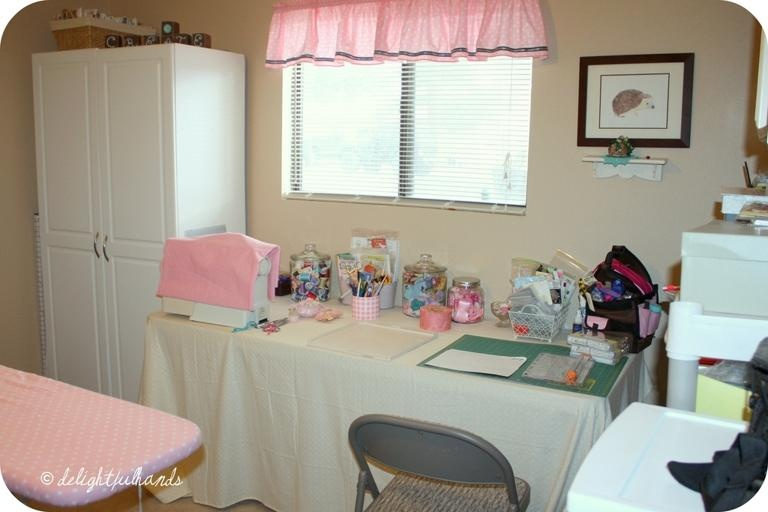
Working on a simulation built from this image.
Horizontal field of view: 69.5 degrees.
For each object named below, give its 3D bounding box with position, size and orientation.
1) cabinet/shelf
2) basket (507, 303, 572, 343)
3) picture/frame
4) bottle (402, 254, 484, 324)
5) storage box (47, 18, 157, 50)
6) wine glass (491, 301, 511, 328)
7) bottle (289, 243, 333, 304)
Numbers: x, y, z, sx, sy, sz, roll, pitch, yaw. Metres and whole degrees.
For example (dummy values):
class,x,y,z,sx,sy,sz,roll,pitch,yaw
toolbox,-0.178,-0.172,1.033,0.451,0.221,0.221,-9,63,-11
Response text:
class,x,y,z,sx,sy,sz,roll,pitch,yaw
cabinet/shelf,-1.575,-0.202,3.445,1.276,2.085,0.575,4,13,12
basket,0.741,0.297,2.707,0.204,0.137,0.207,4,7,27
picture/frame,1.241,-0.760,2.661,0.504,0.415,0.048,3,4,20
bottle,0.301,0.179,2.987,0.483,0.334,0.260,3,8,21
storage box,-1.769,-1.372,3.444,0.343,0.169,0.517,5,9,24
wine glass,0.592,0.301,2.869,0.113,0.109,0.116,-2,4,-13
bottle,-0.479,0.110,3.364,0.305,0.391,0.284,1,6,0
